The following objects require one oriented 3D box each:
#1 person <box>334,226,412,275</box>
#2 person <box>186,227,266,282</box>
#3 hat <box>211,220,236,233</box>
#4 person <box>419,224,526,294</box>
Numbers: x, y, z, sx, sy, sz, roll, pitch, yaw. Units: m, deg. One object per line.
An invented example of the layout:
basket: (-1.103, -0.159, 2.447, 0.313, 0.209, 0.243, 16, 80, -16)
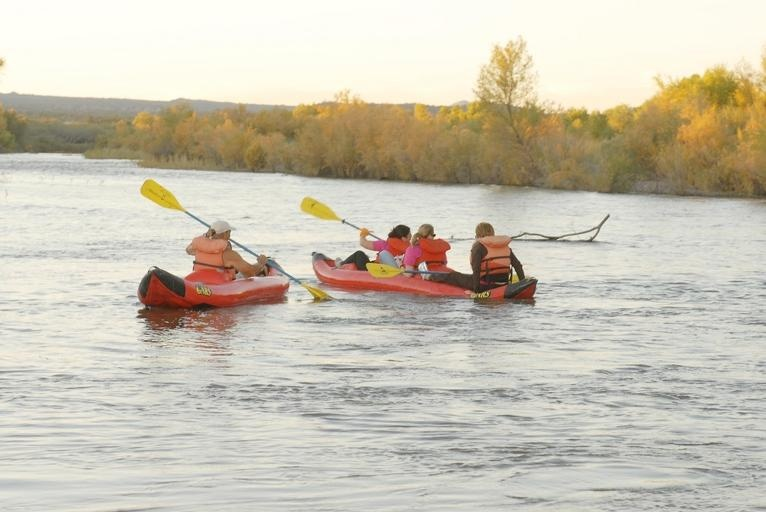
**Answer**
person: (-0.235, -0.121, 21.872, 1.449, 0.489, 0.739, 1, 1, 38)
person: (-2.752, 0.007, 21.364, 1.051, 1.294, 0.879, 18, 23, 12)
hat: (-2.628, -0.461, 19.638, 0.305, 0.192, 0.269, -1, 8, -13)
person: (1.709, 0.034, 20.293, 1.414, 1.182, 0.650, 3, 10, 10)
